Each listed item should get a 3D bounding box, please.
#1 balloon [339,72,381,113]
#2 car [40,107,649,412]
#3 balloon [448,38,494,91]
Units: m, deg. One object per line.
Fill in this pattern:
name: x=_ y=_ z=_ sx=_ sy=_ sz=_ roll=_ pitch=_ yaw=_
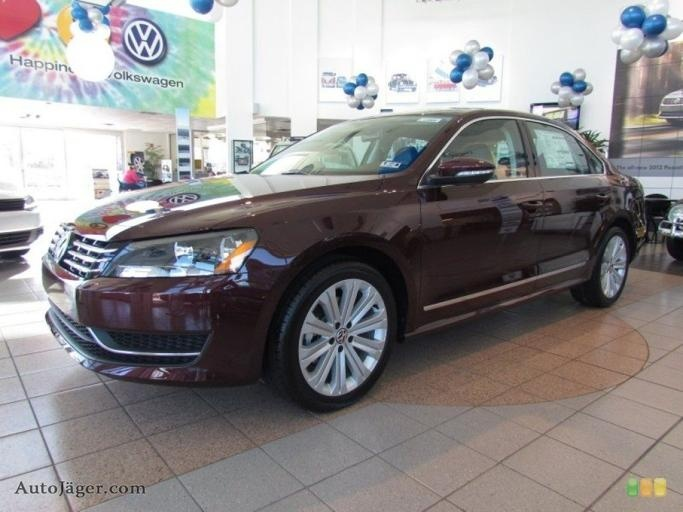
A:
balloon: x=0.698 y=-5.714 z=14.178 sx=1.540 sy=1.176 sz=1.139 roll=16 pitch=-27 yaw=4
car: x=0.574 y=-0.075 z=3.340 sx=4.713 sy=1.149 sz=1.979 roll=-3 pitch=5 yaw=-31
balloon: x=3.522 y=-5.195 z=11.106 sx=1.026 sy=1.224 sz=0.663 roll=1 pitch=17 yaw=19
